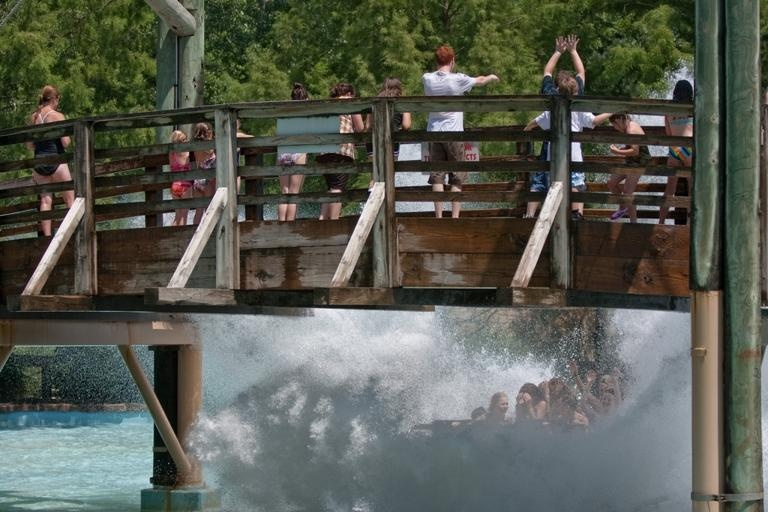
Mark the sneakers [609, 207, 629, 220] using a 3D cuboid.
[{"bbox_3d":[4.077,-0.714,32.556,0.129,0.360,0.120,0,99,31],"label":"sneakers"}]
